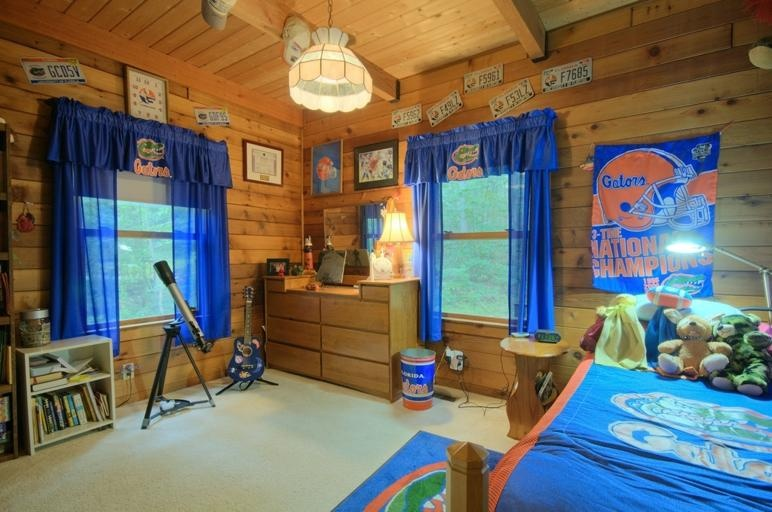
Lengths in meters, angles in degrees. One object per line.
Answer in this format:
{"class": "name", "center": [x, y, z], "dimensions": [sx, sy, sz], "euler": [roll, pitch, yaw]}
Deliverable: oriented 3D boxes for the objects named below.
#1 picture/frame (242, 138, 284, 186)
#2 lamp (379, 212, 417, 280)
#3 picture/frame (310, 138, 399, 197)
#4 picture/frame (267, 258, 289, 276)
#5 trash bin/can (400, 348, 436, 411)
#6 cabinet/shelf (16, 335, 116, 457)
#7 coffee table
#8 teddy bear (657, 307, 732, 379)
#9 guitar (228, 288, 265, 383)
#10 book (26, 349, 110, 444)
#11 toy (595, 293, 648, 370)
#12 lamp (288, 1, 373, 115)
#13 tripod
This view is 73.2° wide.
{"class": "picture/frame", "center": [-1.476, -1.093, 6.196], "dimensions": [0.029, 0.494, 0.538], "euler": [0, 1, 45]}
{"class": "lamp", "center": [0.090, -0.132, 5.727], "dimensions": [0.384, 0.752, 0.374], "euler": [-1, 1, -1]}
{"class": "picture/frame", "center": [-0.416, -1.072, 6.189], "dimensions": [1.258, 0.620, 0.071], "euler": [-1, 1, 34]}
{"class": "picture/frame", "center": [-1.295, 0.140, 6.122], "dimensions": [0.224, 0.168, 0.029], "euler": [0, -4, -5]}
{"class": "trash bin/can", "center": [0.283, 1.242, 5.225], "dimensions": [0.434, 0.522, 0.369], "euler": [-1, 1, -25]}
{"class": "cabinet/shelf", "center": [-2.844, 1.237, 4.660], "dimensions": [0.621, 0.982, 1.040], "euler": [1, 2, 37]}
{"class": "coffee table", "center": [1.290, 1.181, 4.788], "dimensions": [0.589, 0.785, 0.660], "euler": [5, 4, 17]}
{"class": "teddy bear", "center": [2.458, 0.703, 4.270], "dimensions": [0.527, 0.455, 0.390], "euler": [5, 6, 14]}
{"class": "guitar", "center": [-1.583, 0.887, 5.757], "dimensions": [0.352, 1.063, 0.560], "euler": [-2, 1, -16]}
{"class": "book", "center": [-3.070, 1.139, 4.773], "dimensions": [0.549, 0.859, 0.923], "euler": [1, 2, 37]}
{"class": "toy", "center": [1.988, 0.642, 4.510], "dimensions": [0.437, 0.534, 0.429], "euler": [5, 8, 22]}
{"class": "lamp", "center": [-0.426, -1.548, 4.318], "dimensions": [0.786, 1.112, 0.752], "euler": [-1, 1, 7]}
{"class": "tripod", "center": [-2.061, 1.156, 5.069], "dimensions": [0.675, 0.961, 0.603], "euler": [8, 5, 19]}
